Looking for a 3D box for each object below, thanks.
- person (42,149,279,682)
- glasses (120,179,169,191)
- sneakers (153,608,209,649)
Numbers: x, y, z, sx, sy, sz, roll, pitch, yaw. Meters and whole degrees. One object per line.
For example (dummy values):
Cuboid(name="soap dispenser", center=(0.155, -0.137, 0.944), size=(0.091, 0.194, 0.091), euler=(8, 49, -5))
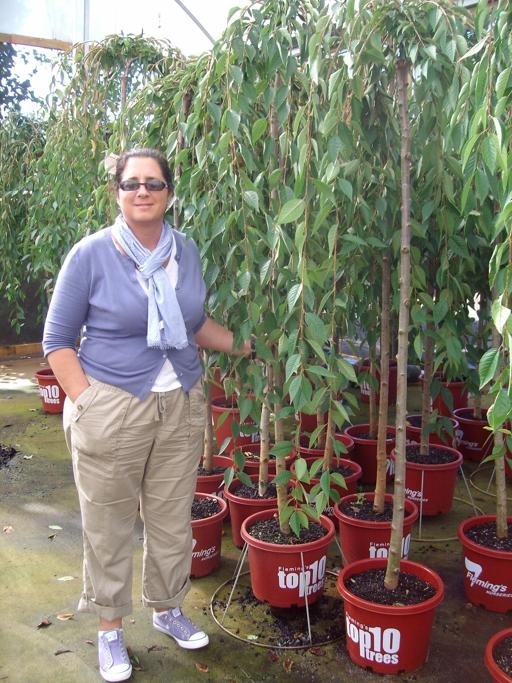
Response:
Cuboid(name="person", center=(-0.256, 0.174, 1.226), size=(0.425, 1.177, 0.251), euler=(-2, 4, -28))
Cuboid(name="glasses", center=(-0.238, -0.323, 1.119), size=(0.092, 0.028, 0.029), euler=(-1, 4, -15))
Cuboid(name="sneakers", center=(-0.187, 0.712, 1.332), size=(0.165, 0.079, 0.063), euler=(8, 6, 41))
